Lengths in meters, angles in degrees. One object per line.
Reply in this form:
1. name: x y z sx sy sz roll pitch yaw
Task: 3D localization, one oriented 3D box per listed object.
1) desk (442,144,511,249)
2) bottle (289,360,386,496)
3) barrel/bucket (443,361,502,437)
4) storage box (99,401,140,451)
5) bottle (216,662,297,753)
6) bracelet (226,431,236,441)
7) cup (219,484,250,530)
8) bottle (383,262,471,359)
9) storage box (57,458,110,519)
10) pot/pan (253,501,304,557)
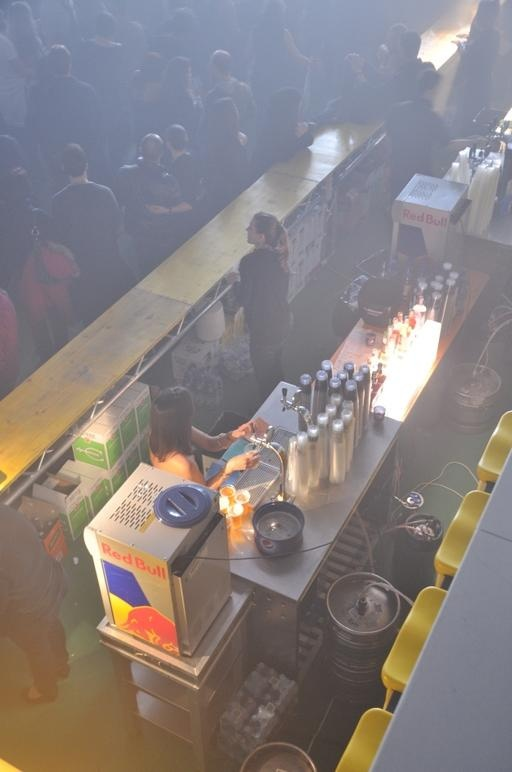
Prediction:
1. desk: 2.240 -1.962 5.671 0.600 0.758 0.939 15 35 24
2. bottle: 0.510 0.132 3.427 0.307 0.426 1.058 7 38 14
3. barrel/bucket: 1.923 0.143 4.999 0.371 0.418 0.375 -2 50 2
4. storage box: -0.967 0.270 3.893 0.145 0.238 0.257 9 46 10
5. bottle: 0.012 1.621 2.855 0.254 0.137 0.448 20 48 24
6. bracelet: -0.164 0.326 3.631 0.042 0.185 0.055 -7 81 -8
7. cup: -0.121 0.654 3.142 0.159 0.091 0.231 -1 46 -1
8. bottle: 1.439 -0.652 4.784 0.280 1.158 0.231 16 39 1
9. storage box: -1.163 0.682 3.738 0.225 0.435 0.233 29 59 16
10. pot/pan: 0.118 0.757 2.988 0.276 0.125 0.297 -1 32 -1
